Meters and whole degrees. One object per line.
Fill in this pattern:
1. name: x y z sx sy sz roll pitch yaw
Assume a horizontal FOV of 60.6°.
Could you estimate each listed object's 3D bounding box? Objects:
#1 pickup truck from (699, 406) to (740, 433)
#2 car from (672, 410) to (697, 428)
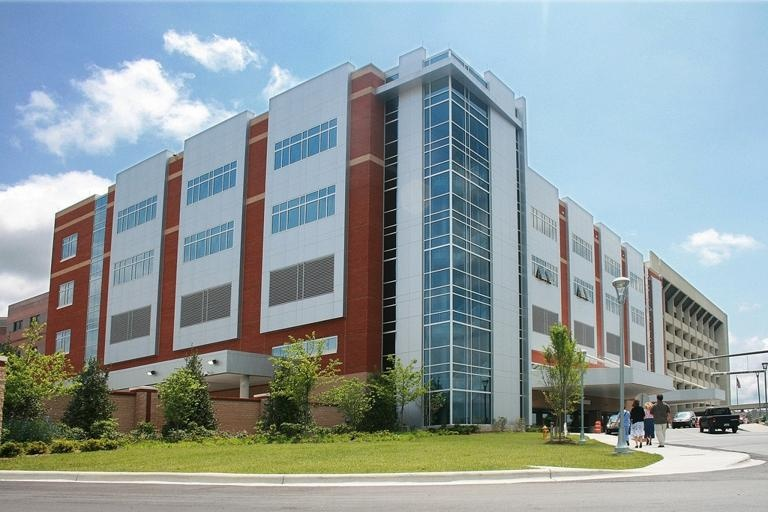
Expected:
1. pickup truck: 25.160 12.461 49.991 1.642 1.297 3.114 -1 -10 10
2. car: 29.719 16.290 65.123 1.671 1.894 5.526 -11 -22 29
